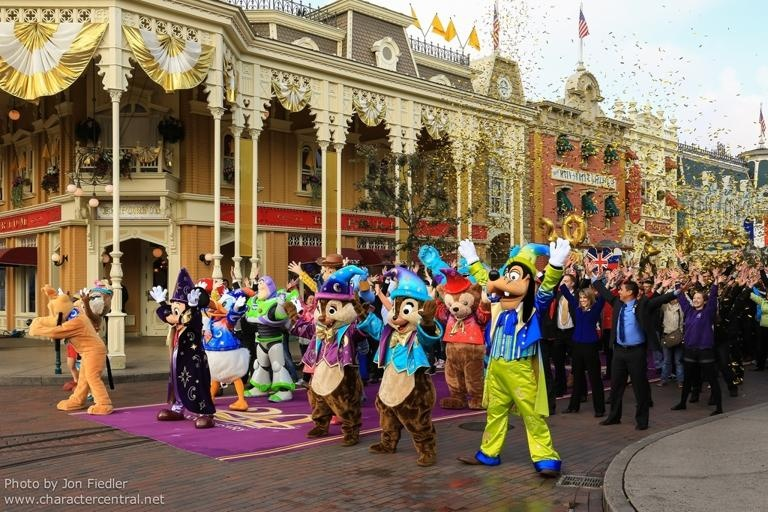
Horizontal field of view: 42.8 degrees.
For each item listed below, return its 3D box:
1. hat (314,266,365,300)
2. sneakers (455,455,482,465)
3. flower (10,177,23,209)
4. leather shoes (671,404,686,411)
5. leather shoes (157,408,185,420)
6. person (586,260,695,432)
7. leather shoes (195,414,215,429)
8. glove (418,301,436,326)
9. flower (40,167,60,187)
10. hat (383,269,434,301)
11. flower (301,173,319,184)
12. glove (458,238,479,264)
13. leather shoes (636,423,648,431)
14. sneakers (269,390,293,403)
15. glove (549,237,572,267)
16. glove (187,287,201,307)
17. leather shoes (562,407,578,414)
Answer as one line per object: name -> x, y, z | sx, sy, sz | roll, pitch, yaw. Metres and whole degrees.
hat -> -0.836, 0.545, 19.344 | 1.114, 0.696, 0.799 | 4, 1, 12
sneakers -> 1.577, 3.800, 18.268 | 0.421, 0.169, 0.158 | 6, -11, 12
flower -> -12.340, -2.186, 33.218 | 0.283, 1.036, 0.818 | 4, -5, -41
leather shoes -> 6.383, 3.282, 21.281 | 0.330, 0.226, 0.130 | 2, -5, 9
leather shoes -> -4.358, 3.249, 20.131 | 0.399, 0.147, 0.239 | 1, -5, -3
person -> 5.134, 2.008, 20.317 | 1.350, 3.035, 0.765 | 1, -4, 13
leather shoes -> -3.605, 3.345, 19.842 | 0.388, 0.259, 0.235 | 2, -4, -12
glove -> 0.813, 1.077, 18.469 | 0.311, 0.482, 0.219 | 1, -4, -1
flower -> -10.543, -2.519, 31.085 | 0.360, 0.759, 0.629 | 4, -5, -38
hat -> 0.436, 0.490, 18.869 | 0.980, 0.568, 0.766 | 1, 8, -3
flower -> -2.490, -2.636, 33.506 | 0.619, 0.352, 0.251 | 2, -4, -6
glove -> 1.653, -0.078, 19.304 | 0.378, 0.489, 0.203 | -26, -5, -4
leather shoes -> 5.244, 3.466, 19.894 | 0.304, 0.131, 0.211 | 2, -3, -3
sneakers -> -2.278, 3.135, 21.831 | 0.414, 0.163, 0.227 | 2, -9, -17
glove -> 3.313, -0.074, 18.102 | 0.397, 0.514, 0.159 | 3, -3, 35
glove -> -3.883, 0.833, 20.066 | 0.293, 0.373, 0.127 | 1, -4, 9
leather shoes -> 3.994, 3.332, 21.132 | 0.342, 0.147, 0.117 | 9, -7, 8
